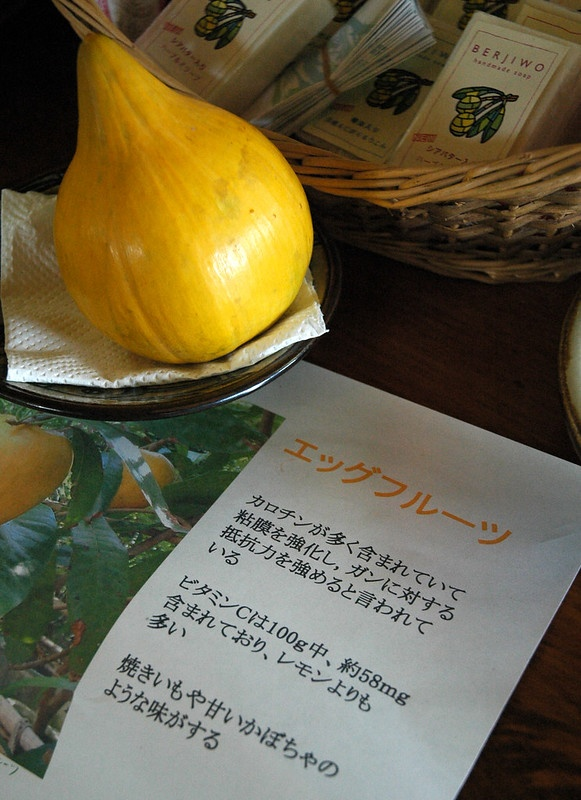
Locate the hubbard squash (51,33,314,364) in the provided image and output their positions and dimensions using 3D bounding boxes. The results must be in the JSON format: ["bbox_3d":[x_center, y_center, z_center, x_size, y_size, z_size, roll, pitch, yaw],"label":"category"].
[{"bbox_3d":[-0.061,-0.100,0.380,0.114,0.143,0.121,16,63,20],"label":"hubbard squash"}]
